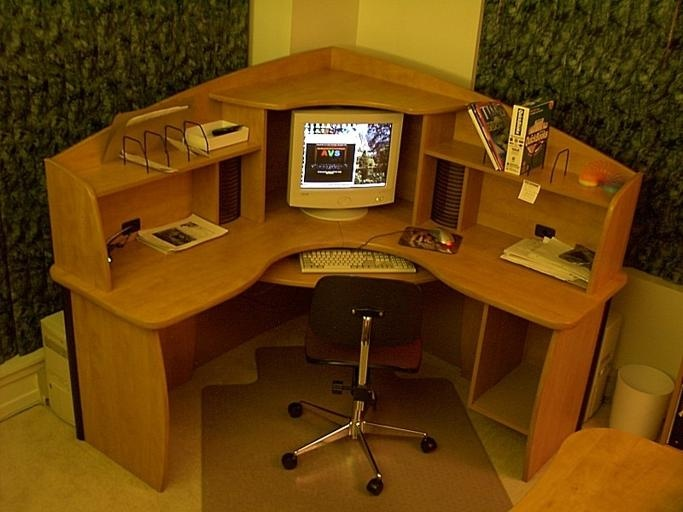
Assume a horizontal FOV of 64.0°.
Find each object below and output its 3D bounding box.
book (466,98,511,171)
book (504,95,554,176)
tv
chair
[{"bbox_3d":[0.746,-0.595,2.656,0.077,0.318,0.320,-14,-5,34],"label":"book"},{"bbox_3d":[0.903,-0.556,2.612,0.150,0.390,0.380,10,8,27],"label":"book"},{"bbox_3d":[0.008,-0.479,2.891,0.554,0.514,0.301,-2,31,-16],"label":"tv"},{"bbox_3d":[0.110,0.524,2.510,0.733,0.990,0.541,3,27,-2],"label":"chair"}]
